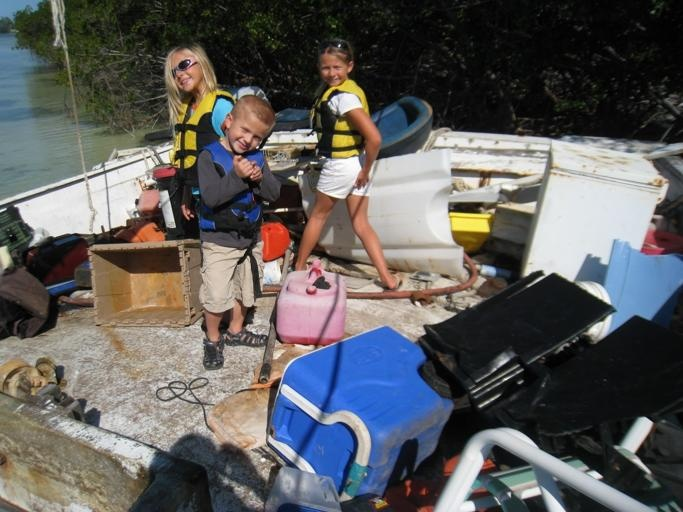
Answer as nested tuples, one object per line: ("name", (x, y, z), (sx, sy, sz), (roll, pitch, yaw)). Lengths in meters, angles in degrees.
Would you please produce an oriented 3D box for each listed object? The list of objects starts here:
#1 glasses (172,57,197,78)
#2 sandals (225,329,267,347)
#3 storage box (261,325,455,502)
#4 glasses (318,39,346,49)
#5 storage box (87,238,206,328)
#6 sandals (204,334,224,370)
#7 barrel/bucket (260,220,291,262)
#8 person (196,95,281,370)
("glasses", (-1.213, -1.444, 3.759), (0.197, 0.144, 0.069), (-2, 24, -11))
("sandals", (-0.726, 0.633, 3.765), (0.337, 0.120, 0.128), (-2, 9, -11))
("storage box", (0.151, 0.897, 2.896), (0.956, 0.592, 0.748), (-18, 30, -42))
("glasses", (-0.066, -1.787, 4.133), (0.145, 0.038, 0.137), (1, -8, 1))
("storage box", (-1.614, 0.204, 4.169), (0.876, 0.540, 0.795), (-1, 1, -1))
("sandals", (-0.931, 0.697, 3.546), (0.113, 0.109, 0.253), (-1, 31, -13))
("barrel/bucket", (-0.686, -0.145, 4.870), (0.257, 0.375, 0.415), (24, 29, 38))
("person", (-0.764, -0.155, 3.445), (0.687, 1.867, 0.493), (-13, 29, -32))
